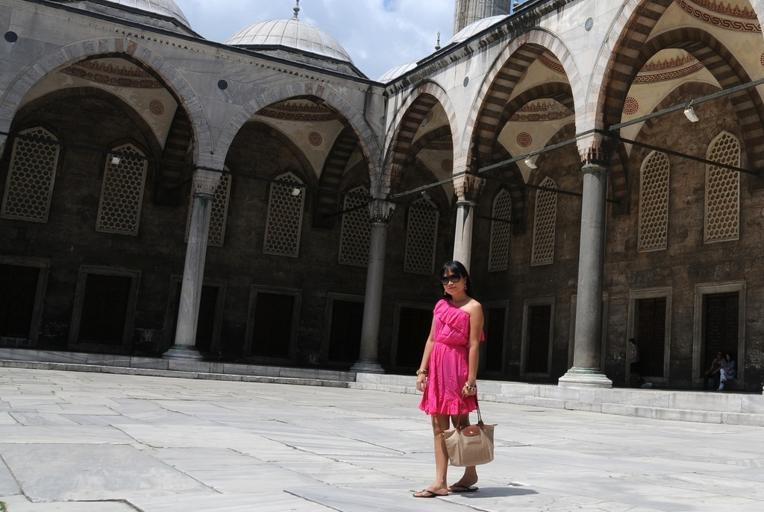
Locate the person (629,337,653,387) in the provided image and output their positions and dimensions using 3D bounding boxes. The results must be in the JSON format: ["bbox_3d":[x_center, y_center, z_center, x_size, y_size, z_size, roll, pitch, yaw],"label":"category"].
[{"bbox_3d":[5.902,2.426,14.212,0.403,1.111,0.267,2,-12,3],"label":"person"}]

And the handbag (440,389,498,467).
[{"bbox_3d":[0.499,0.981,3.349,0.212,0.304,0.307,-5,-13,34],"label":"handbag"}]

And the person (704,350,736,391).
[{"bbox_3d":[6.834,2.335,12.619,0.435,0.781,0.569,8,-12,-26],"label":"person"}]

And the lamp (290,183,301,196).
[{"bbox_3d":[-2.417,-1.817,17.346,0.309,0.387,0.156,-2,-52,-5],"label":"lamp"}]

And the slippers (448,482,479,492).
[{"bbox_3d":[0.426,1.209,3.260,0.135,0.030,0.054,2,-11,6],"label":"slippers"}]

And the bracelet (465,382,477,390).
[{"bbox_3d":[0.487,0.729,3.432,0.062,0.032,0.045,-12,2,28],"label":"bracelet"}]

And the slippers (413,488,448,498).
[{"bbox_3d":[0.246,1.177,3.059,0.140,0.022,0.062,1,-5,-9],"label":"slippers"}]
